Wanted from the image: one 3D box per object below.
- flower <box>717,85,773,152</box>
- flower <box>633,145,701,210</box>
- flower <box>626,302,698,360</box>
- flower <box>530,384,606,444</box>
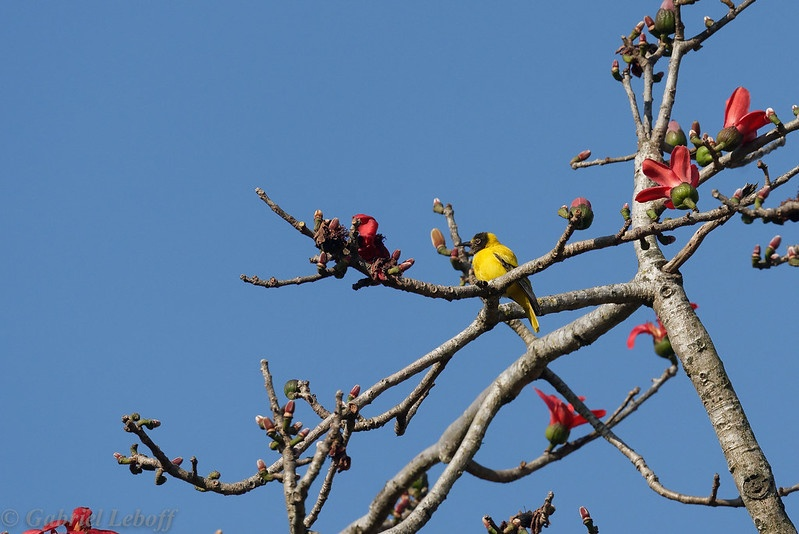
[{"bbox_3d":[2.819,-1.220,11.240,0.356,0.422,0.450,11,-39,-20],"label":"flower"},{"bbox_3d":[2.044,-0.622,10.479,0.491,0.516,0.298,-16,-38,15],"label":"flower"},{"bbox_3d":[2.164,0.494,10.887,0.589,0.360,0.617,-14,-8,18],"label":"flower"},{"bbox_3d":[1.449,1.320,11.969,0.368,0.429,0.364,-9,-36,6],"label":"flower"}]
